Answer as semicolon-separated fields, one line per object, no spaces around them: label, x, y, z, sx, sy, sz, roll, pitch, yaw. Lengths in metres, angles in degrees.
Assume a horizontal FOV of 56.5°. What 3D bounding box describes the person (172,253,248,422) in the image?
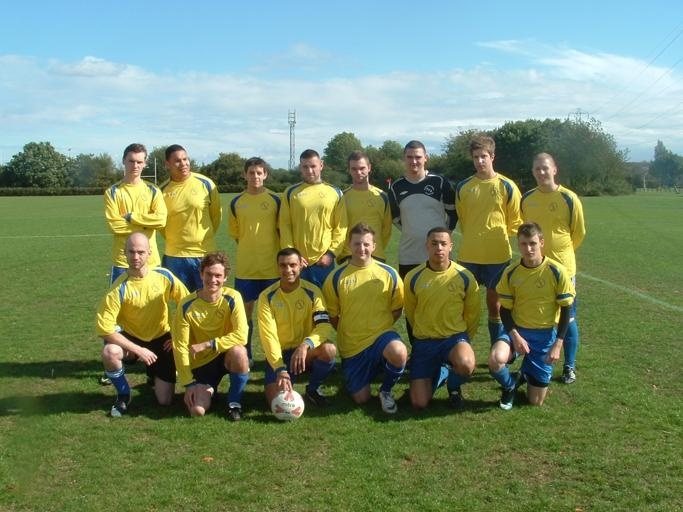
person;-1.535;0.882;7.326;0.914;1.807;0.764;1;7;0

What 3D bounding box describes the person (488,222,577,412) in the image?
person;2.232;0.675;7.433;1.022;2.105;0.748;1;7;3

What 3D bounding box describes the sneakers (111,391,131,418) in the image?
sneakers;-2.531;1.702;7.247;0.207;0.194;0.278;-1;7;-14

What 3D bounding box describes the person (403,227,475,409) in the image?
person;1.164;0.698;7.488;0.906;2.055;0.736;2;7;10

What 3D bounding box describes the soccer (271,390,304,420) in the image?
soccer;-0.608;1.666;7.138;0.324;0.320;0.329;-9;-15;-35

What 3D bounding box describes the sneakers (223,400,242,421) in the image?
sneakers;-1.223;1.737;7.211;0.173;0.159;0.362;-1;7;-11

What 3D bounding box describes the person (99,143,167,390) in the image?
person;-2.759;-0.004;8.360;0.948;2.782;0.576;-3;12;-29

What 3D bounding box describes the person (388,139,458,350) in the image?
person;1.154;-0.137;8.735;0.908;2.771;0.814;-4;5;7

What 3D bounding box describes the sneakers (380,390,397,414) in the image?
sneakers;0.538;1.676;7.290;0.210;0.209;0.235;1;7;3

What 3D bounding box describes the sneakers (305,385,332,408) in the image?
sneakers;-0.281;1.635;7.503;0.313;0.209;0.268;1;7;1

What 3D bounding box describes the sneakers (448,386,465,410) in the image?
sneakers;1.331;1.616;7.391;0.169;0.224;0.300;2;7;6

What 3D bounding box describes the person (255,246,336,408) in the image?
person;-0.539;0.812;7.556;0.894;1.826;0.941;-3;8;-24
